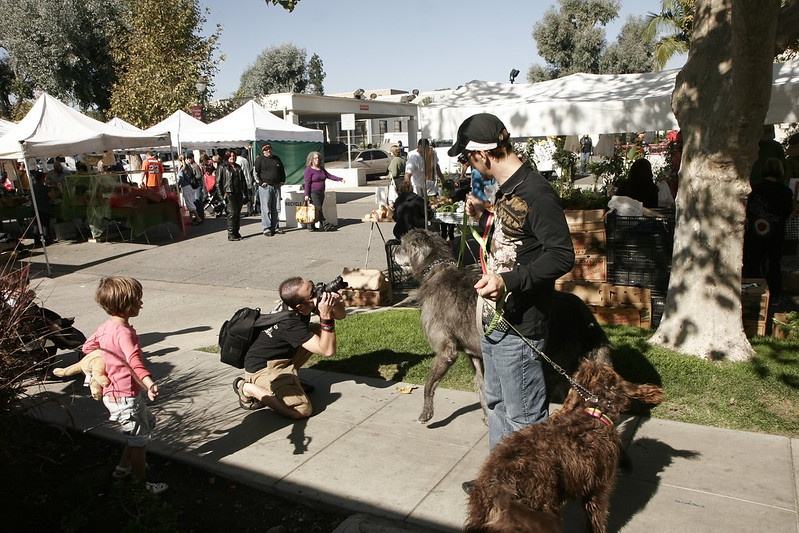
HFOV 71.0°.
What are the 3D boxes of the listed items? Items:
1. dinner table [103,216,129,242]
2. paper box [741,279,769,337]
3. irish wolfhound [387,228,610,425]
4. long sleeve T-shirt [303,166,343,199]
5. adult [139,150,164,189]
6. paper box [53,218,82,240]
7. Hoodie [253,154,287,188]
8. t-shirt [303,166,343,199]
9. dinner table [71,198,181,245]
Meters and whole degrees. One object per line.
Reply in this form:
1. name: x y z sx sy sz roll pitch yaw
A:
1. dinner table: -8.357 -1.047 16.513 0.903 0.643 0.637 -2 5 -29
2. paper box: 4.747 0.571 7.477 0.347 0.571 0.639 -1 15 31
3. irish wolfhound: 0.940 0.452 5.957 1.176 3.060 1.054 -1 3 -17
4. long sleeve T-shirt: -2.376 -2.403 15.799 0.619 0.861 0.310 -7 14 -11
5. adult: -8.287 -2.955 18.779 0.741 1.839 0.573 -7 10 -35
6. paper box: -9.875 -1.168 16.601 0.548 0.687 1.023 -3 6 14
7. Hoodie: -3.692 -2.708 15.734 0.754 0.876 0.648 -6 13 -2
8. t-shirt: -2.376 -2.403 15.798 0.619 0.861 0.307 -7 14 -10
9. dinner table: -7.518 -1.424 16.094 2.214 1.311 1.732 1 14 23
